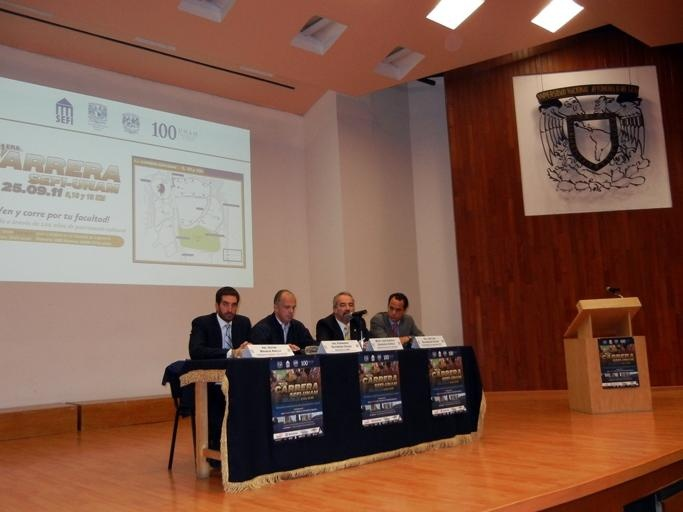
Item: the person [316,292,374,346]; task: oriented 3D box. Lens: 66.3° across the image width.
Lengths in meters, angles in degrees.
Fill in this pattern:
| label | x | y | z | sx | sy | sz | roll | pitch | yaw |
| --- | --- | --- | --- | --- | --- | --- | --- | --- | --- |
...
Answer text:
| label | x | y | z | sx | sy | sz | roll | pitch | yaw |
| --- | --- | --- | --- | --- | --- | --- | --- | --- | --- |
| person | 0.002 | 0.534 | 4.506 | 0.482 | 0.410 | 0.727 | -2 | -1 | 3 |
